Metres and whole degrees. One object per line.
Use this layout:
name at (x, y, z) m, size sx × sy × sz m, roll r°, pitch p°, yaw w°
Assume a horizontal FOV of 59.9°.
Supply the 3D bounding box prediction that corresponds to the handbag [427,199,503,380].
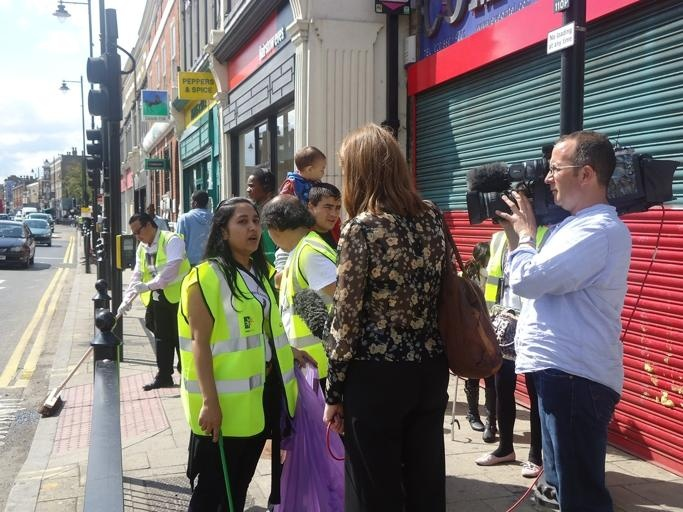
handbag at (0.664, 0.216, 3.218) m, size 0.361 × 0.968 × 0.346 m, roll -1°, pitch 12°, yaw -22°

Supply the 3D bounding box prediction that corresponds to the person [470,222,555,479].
person at (1.440, 0.710, 4.790) m, size 0.545 × 2.766 × 0.677 m, roll 9°, pitch 24°, yaw 35°

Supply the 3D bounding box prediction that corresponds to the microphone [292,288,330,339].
microphone at (-0.199, 0.377, 4.041) m, size 0.240 × 0.159 × 0.428 m, roll 21°, pitch 30°, yaw -42°

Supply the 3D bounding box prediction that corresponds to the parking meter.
parking meter at (-3.297, 0.491, 8.909) m, size 0.556 × 1.823 × 0.573 m, roll -5°, pitch 13°, yaw -42°

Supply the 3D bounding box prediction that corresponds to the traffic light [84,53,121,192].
traffic light at (-3.416, -1.933, 8.576) m, size 0.475 × 1.970 × 0.480 m, roll -2°, pitch 3°, yaw -13°

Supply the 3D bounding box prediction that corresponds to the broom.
broom at (-3.261, 1.368, 7.287) m, size 0.243 × 1.187 × 0.104 m, roll -7°, pitch -40°, yaw 47°

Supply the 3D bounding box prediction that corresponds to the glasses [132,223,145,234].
glasses at (-2.554, -0.318, 7.415) m, size 0.102 × 0.130 × 0.060 m, roll 3°, pitch -35°, yaw 23°
